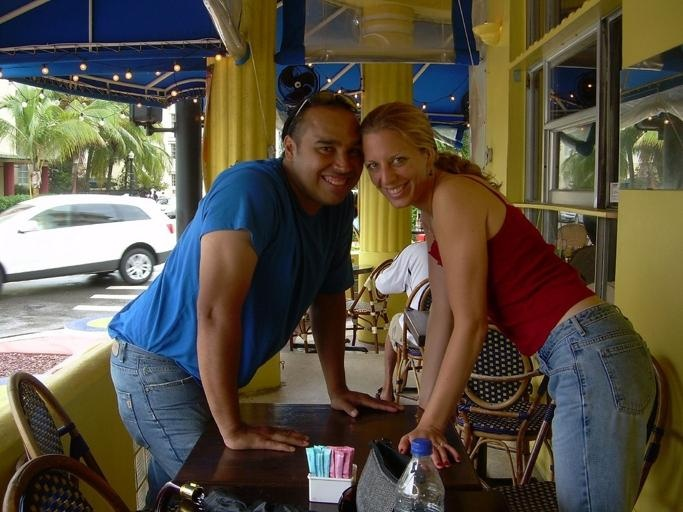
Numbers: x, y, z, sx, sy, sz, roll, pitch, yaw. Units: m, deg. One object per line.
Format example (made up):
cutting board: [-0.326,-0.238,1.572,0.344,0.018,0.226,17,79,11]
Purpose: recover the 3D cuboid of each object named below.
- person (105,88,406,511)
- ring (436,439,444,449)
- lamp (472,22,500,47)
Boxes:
person: [-0.104,0.132,2.534,1.207,2.291,1.018,0,-2,11]
ring: [0.267,0.511,1.448,0.024,0.008,0.019,-11,-31,-26]
lamp: [1.177,-1.795,4.235,0.248,0.149,0.136,-1,7,-27]
